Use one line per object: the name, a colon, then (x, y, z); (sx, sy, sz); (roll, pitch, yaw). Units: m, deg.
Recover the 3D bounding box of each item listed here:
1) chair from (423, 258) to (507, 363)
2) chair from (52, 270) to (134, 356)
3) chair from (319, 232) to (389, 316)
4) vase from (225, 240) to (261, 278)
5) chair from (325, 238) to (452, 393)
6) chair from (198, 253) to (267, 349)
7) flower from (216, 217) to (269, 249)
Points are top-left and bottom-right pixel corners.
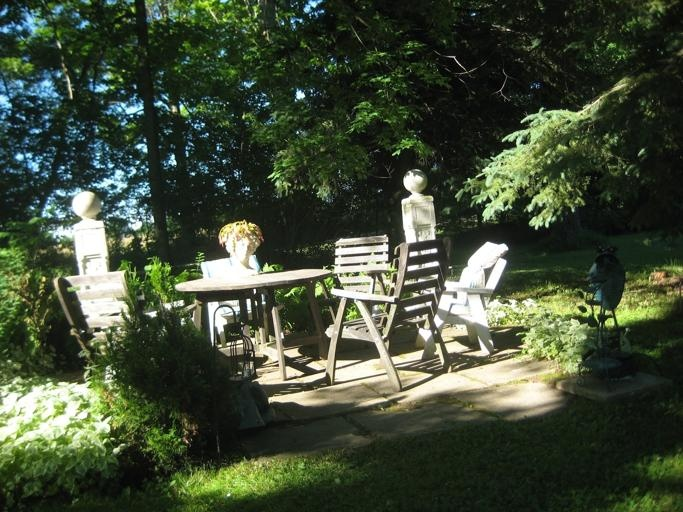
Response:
chair: (1.182, 0.500, 5.827); (0.869, 1.057, 0.873); (-2, -1, 0)
chair: (-1.909, 0.486, 4.913); (0.568, 0.758, 0.564); (-11, 10, -12)
chair: (0.207, 0.184, 6.515); (0.690, 1.008, 0.759); (-1, 3, 16)
vase: (-1.046, 0.035, 6.225); (0.315, 0.498, 0.300); (-3, -23, -11)
chair: (0.381, 0.331, 5.255); (0.861, 1.186, 0.958); (4, -16, 11)
chair: (-1.171, 0.452, 6.565); (0.587, 0.812, 0.610); (-4, 7, 40)
flower: (-0.960, -0.258, 6.235); (0.455, 0.301, 0.527); (3, 9, 33)
